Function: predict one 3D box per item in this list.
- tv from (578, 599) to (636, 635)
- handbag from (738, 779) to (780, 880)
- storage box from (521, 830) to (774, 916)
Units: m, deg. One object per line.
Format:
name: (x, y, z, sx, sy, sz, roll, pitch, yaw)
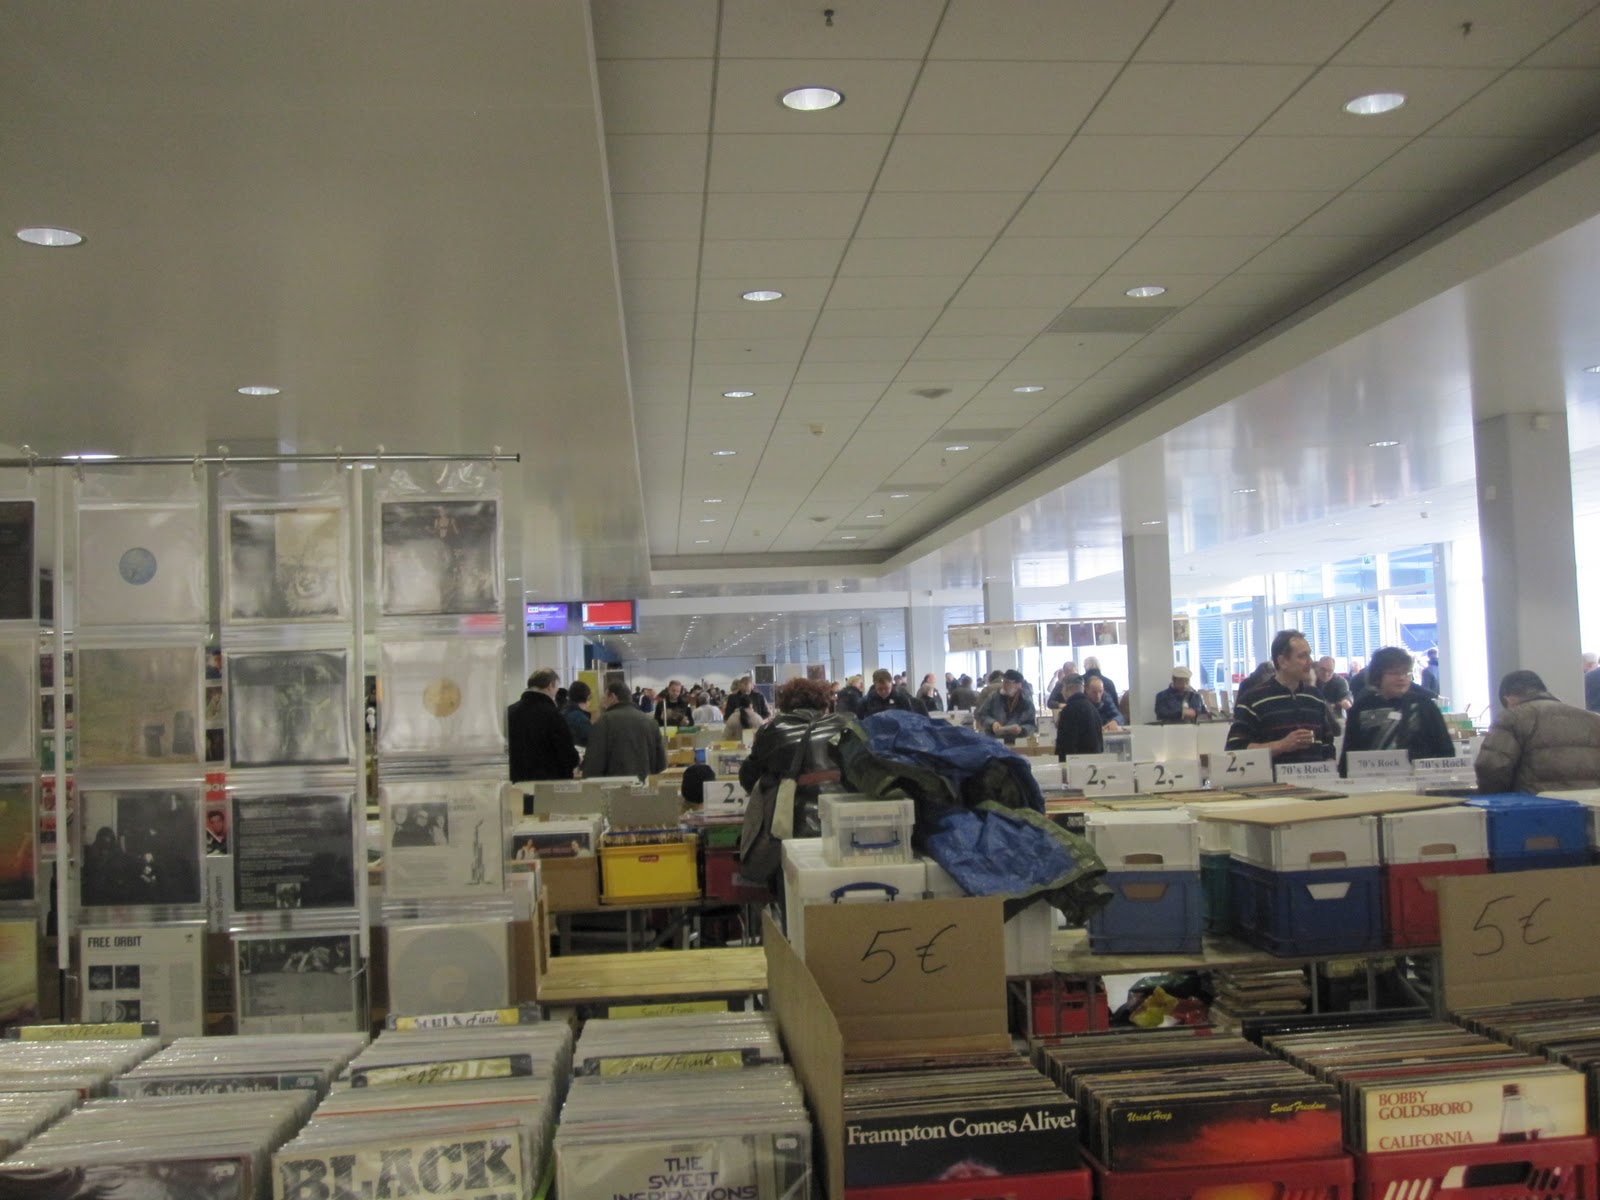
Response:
tv: (-2.611, 0.205, 18.165, 0.693, 0.367, 0.081, 0, -13, -5)
handbag: (-0.176, 0.984, 5.730, 0.124, 0.342, 0.277, 2, -7, -2)
storage box: (-0.794, 1.333, 6.708, 0.895, 0.208, 0.878, -2, -1, -6)
